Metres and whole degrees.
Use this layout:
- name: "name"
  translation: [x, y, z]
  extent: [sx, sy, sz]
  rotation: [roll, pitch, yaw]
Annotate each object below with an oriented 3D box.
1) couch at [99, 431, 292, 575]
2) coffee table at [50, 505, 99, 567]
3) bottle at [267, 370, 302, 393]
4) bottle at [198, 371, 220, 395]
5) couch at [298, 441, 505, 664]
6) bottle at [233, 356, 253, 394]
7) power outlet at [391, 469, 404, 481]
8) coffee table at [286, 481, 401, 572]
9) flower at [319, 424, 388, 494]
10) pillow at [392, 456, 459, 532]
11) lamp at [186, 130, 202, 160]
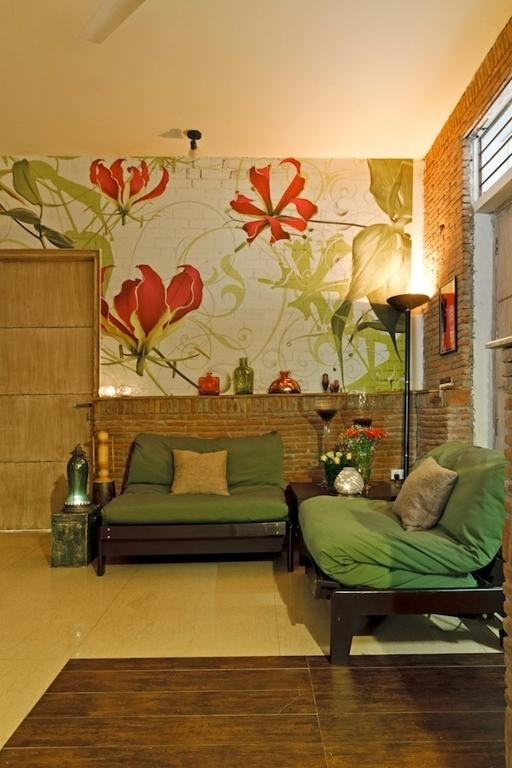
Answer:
- name: "couch"
  translation: [-0.395, 0.720, 4.059]
  extent: [0.933, 0.612, 0.904]
  rotation: [-1, -2, 1]
- name: "coffee table"
  translation: [-1.144, 0.964, 3.930]
  extent: [0.316, 0.381, 0.525]
  rotation: [0, 0, 0]
- name: "bottle"
  translation: [0.245, -0.035, 4.829]
  extent: [0.204, 0.138, 0.195]
  rotation: [0, 2, 0]
- name: "bottle"
  translation: [-0.386, -0.002, 4.831]
  extent: [0.179, 0.193, 0.144]
  rotation: [-1, -1, -3]
- name: "couch"
  translation: [0.703, 0.722, 2.833]
  extent: [0.922, 0.790, 0.972]
  rotation: [-1, -1, 1]
- name: "bottle"
  translation: [-0.098, -0.061, 4.836]
  extent: [0.150, 0.296, 0.136]
  rotation: [0, -1, -17]
- name: "power outlet"
  translation: [1.152, 0.738, 4.798]
  extent: [0.096, 0.080, 0.096]
  rotation: [2, 3, 25]
- name: "coffee table"
  translation: [0.501, 0.869, 4.009]
  extent: [0.614, 0.449, 0.607]
  rotation: [-1, 6, -13]
- name: "flower"
  translation: [0.678, 0.507, 4.134]
  extent: [0.506, 0.530, 0.413]
  rotation: [-2, -8, 3]
- name: "pillow"
  translation: [0.856, 0.559, 3.030]
  extent: [0.253, 0.310, 0.505]
  rotation: [-2, 3, 5]
- name: "lamp"
  translation: [-0.491, -1.904, 4.687]
  extent: [0.125, 0.128, 0.301]
  rotation: [-1, -1, -4]
